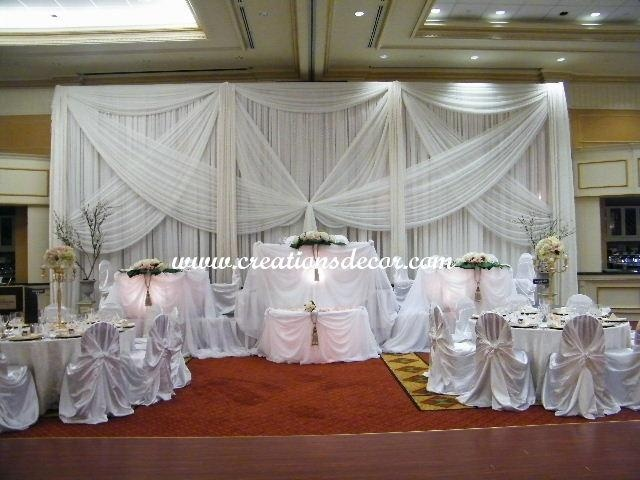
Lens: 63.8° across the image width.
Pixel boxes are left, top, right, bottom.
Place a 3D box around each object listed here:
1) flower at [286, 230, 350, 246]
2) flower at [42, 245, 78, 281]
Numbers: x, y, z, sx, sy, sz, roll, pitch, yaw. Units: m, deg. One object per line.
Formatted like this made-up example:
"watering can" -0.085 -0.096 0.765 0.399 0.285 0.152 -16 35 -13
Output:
"flower" -0.074 -0.018 8.172 1.015 0.240 0.526 -1 2 0
"flower" -3.225 0.300 6.382 0.326 0.442 0.490 -2 3 -25
